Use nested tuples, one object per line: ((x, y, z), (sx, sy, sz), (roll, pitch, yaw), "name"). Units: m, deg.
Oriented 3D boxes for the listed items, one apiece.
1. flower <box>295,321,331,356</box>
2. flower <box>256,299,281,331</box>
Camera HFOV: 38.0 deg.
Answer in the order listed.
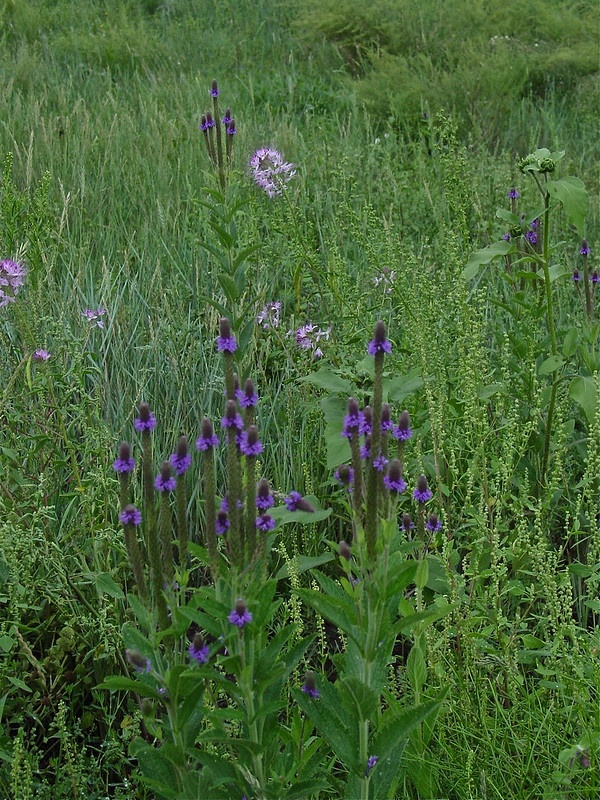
((0.058, -0.275, 4.075), (0.119, 0.183, 0.154), (17, -2, 23), "flower")
((-0.150, -0.395, 4.256), (0.095, 0.154, 0.140), (9, 19, -4), "flower")
